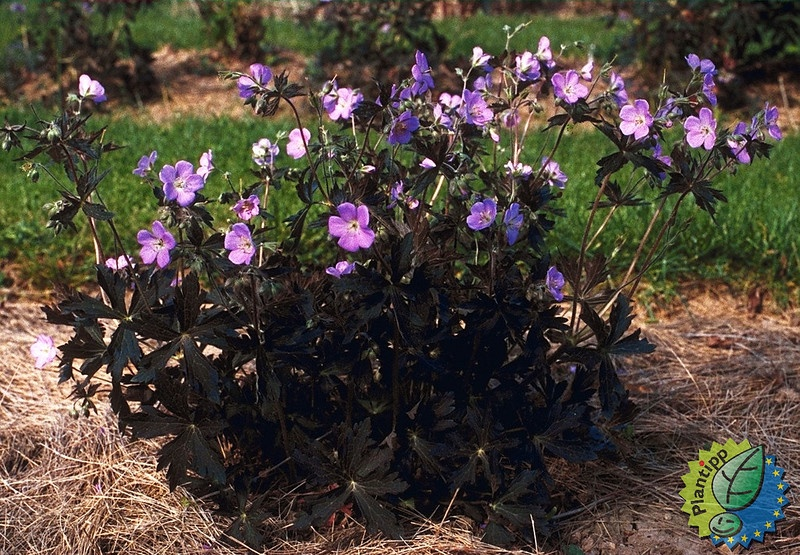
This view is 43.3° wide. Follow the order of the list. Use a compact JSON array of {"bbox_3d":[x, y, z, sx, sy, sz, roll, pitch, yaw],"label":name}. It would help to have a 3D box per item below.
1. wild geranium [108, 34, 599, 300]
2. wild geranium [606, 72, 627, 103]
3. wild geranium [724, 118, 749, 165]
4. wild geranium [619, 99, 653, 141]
[{"bbox_3d":[-0.046,-0.431,5.374,2.140,1.479,0.973,-17,-7,-3],"label":"wild geranium"},{"bbox_3d":[1.076,-0.935,4.992,0.058,0.144,0.124,-16,1,25],"label":"wild geranium"},{"bbox_3d":[1.650,-0.663,4.912,0.151,0.186,0.067,-10,7,-40],"label":"wild geranium"},{"bbox_3d":[1.150,-0.784,4.898,0.166,0.181,0.084,-28,-4,33],"label":"wild geranium"}]
